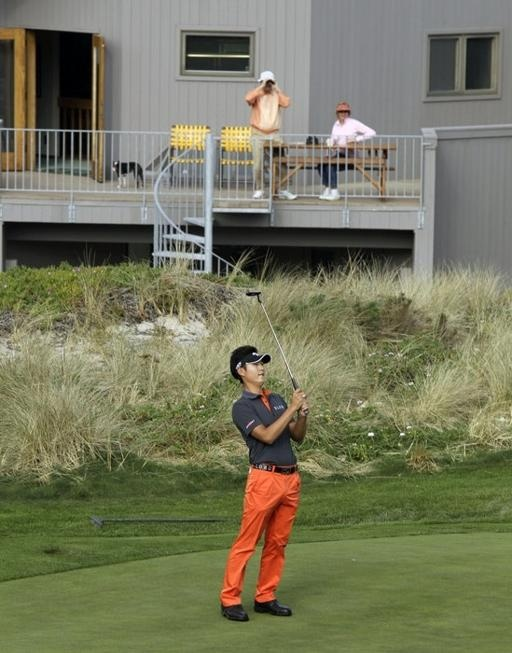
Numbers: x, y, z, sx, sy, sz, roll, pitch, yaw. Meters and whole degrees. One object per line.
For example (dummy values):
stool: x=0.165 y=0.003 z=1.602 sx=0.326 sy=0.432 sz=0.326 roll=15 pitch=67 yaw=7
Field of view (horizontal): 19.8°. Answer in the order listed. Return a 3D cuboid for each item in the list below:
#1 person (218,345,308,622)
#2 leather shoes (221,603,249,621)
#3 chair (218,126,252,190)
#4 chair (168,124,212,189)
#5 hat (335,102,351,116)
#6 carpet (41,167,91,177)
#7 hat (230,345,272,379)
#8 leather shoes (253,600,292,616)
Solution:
person: x=0.040 y=0.916 z=8.734 sx=0.525 sy=1.541 sz=0.670 roll=0 pitch=4 yaw=2
leather shoes: x=-0.127 y=1.663 z=8.504 sx=0.162 sy=0.086 sz=0.112 roll=0 pitch=5 yaw=2
chair: x=-0.252 y=-2.329 z=19.728 sx=0.321 sy=0.734 sz=0.425 roll=5 pitch=10 yaw=-1
chair: x=-0.925 y=-2.191 z=19.465 sx=0.405 sy=1.020 sz=0.579 roll=0 pitch=4 yaw=1
hat: x=1.120 y=-2.861 z=19.018 sx=0.144 sy=0.153 sz=0.245 roll=0 pitch=-6 yaw=0
carpet: x=-2.841 y=-2.306 z=21.861 sx=0.708 sy=0.137 sz=1.603 roll=-2 pitch=6 yaw=-9
hat: x=-0.045 y=0.192 z=8.926 sx=0.240 sy=0.164 sz=0.156 roll=-33 pitch=-11 yaw=29
leather shoes: x=0.099 y=1.649 z=8.579 sx=0.203 sy=0.120 sz=0.084 roll=-2 pitch=-3 yaw=29
